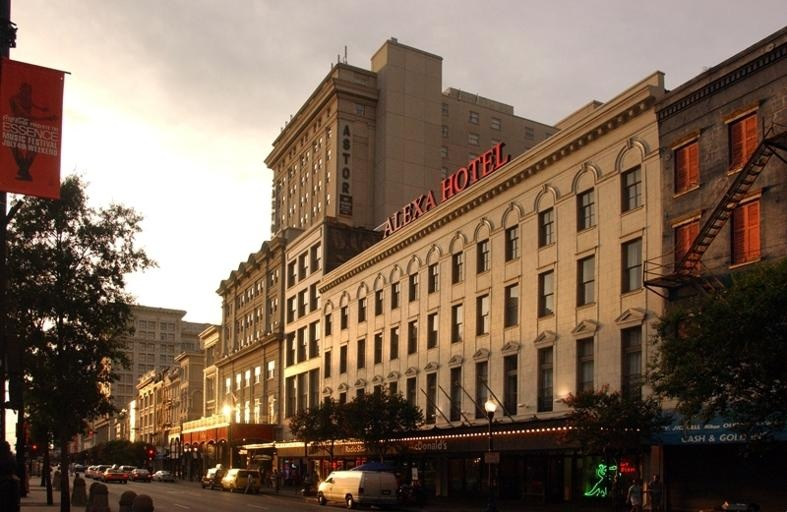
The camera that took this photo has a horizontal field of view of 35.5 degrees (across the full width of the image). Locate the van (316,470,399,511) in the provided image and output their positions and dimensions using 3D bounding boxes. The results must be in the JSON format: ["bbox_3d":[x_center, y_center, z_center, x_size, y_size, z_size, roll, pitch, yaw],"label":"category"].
[{"bbox_3d":[-2.283,14.739,77.620,2.124,2.865,7.072,13,-28,-28],"label":"van"}]

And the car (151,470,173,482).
[{"bbox_3d":[-23.730,22.512,126.009,1.209,0.767,2.334,5,-7,-26],"label":"car"}]

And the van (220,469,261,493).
[{"bbox_3d":[-11.847,17.672,96.774,1.621,1.308,3.483,4,-7,-25],"label":"van"}]

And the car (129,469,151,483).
[{"bbox_3d":[-25.522,22.025,123.557,1.180,0.958,2.785,3,-8,-18],"label":"car"}]

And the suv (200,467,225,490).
[{"bbox_3d":[-15.473,18.997,105.449,1.466,1.263,2.866,2,-5,-14],"label":"suv"}]
